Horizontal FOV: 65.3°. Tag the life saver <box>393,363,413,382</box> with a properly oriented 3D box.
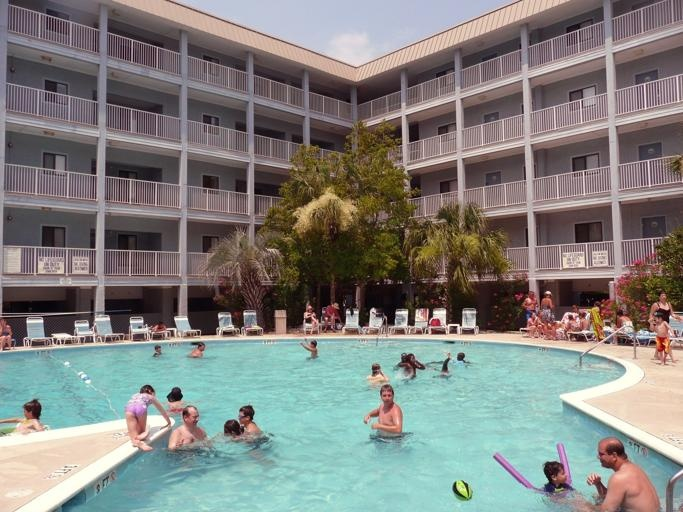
[{"bbox_3d":[1.808,3.264,15.189,0.482,0.495,0.378,3,2,32],"label":"life saver"}]

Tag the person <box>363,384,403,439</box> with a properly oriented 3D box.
[{"bbox_3d":[0.799,3.169,11.076,0.711,1.042,1.095,1,-8,-41],"label":"person"}]

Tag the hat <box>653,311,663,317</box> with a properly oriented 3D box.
[{"bbox_3d":[8.832,1.627,14.955,0.179,0.175,0.149,4,-5,-4],"label":"hat"}]

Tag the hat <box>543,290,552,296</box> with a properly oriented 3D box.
[{"bbox_3d":[9.444,1.723,24.580,0.476,0.124,0.470,-10,8,-26],"label":"hat"}]

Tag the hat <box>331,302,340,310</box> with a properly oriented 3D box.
[{"bbox_3d":[-0.359,2.440,25.995,0.127,0.459,0.468,-34,-38,22],"label":"hat"}]

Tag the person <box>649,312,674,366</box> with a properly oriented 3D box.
[{"bbox_3d":[8.707,2.227,14.567,0.539,1.386,0.385,-3,-10,9],"label":"person"}]

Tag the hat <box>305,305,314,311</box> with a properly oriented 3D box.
[{"bbox_3d":[-1.479,2.365,24.441,0.262,0.255,0.345,2,-14,-4],"label":"hat"}]

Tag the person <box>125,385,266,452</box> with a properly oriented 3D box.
[{"bbox_3d":[-2.987,2.936,9.668,1.697,0.737,1.143,-4,1,26],"label":"person"}]

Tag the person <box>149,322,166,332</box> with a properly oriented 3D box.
[{"bbox_3d":[-8.190,3.209,23.859,0.829,0.392,1.058,1,-3,-15],"label":"person"}]
